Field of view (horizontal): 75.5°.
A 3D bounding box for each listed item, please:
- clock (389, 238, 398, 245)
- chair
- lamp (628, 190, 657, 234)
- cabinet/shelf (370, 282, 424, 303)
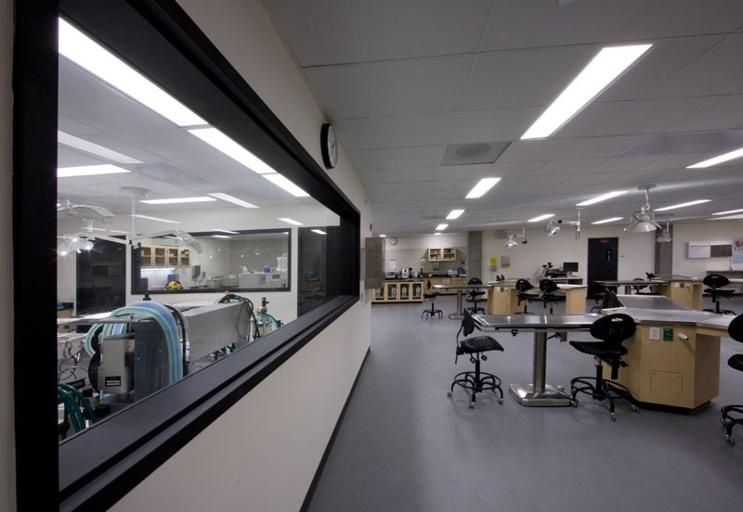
[{"bbox_3d":[0.688,-0.459,14.946,0.254,0.230,0.065,-1,-1,-7],"label":"clock"},{"bbox_3d":[2.721,1.183,5.281,2.317,1.208,1.103,-1,-1,19],"label":"chair"},{"bbox_3d":[3.618,-0.594,6.341,0.270,0.310,0.266,6,19,18],"label":"lamp"},{"bbox_3d":[0.696,0.905,12.279,1.372,0.565,0.755,-1,-1,-4],"label":"cabinet/shelf"}]
